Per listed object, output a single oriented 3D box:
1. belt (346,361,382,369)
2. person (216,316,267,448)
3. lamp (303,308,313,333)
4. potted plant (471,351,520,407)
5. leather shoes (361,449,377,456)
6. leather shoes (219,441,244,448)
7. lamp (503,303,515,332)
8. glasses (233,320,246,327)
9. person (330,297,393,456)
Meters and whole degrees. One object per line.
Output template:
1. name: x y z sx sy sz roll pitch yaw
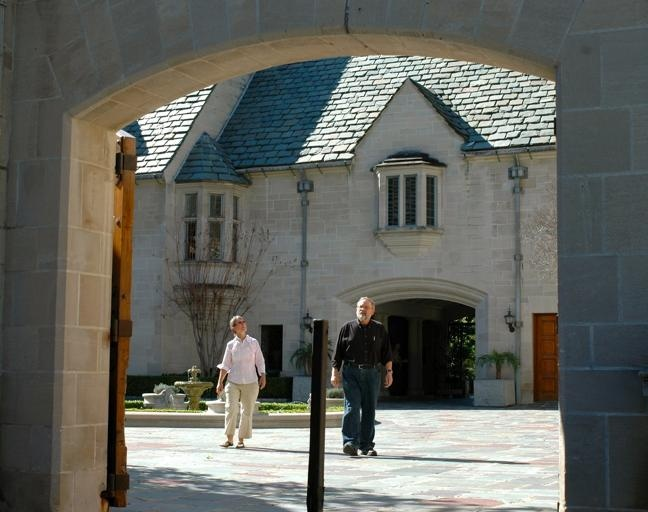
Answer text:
1. belt: 0.364 1.131 11.935 0.312 0.078 0.138 -1 -8 7
2. person: -0.985 1.449 13.730 0.561 1.613 1.798 1 -8 -5
3. lamp: -0.359 1.385 24.617 0.200 0.481 0.423 2 -8 -9
4. potted plant: 3.584 2.452 22.998 0.934 1.219 0.977 -4 -12 28
5. leather shoes: 0.456 2.028 11.945 0.150 0.071 0.057 -14 -15 40
6. leather shoes: -1.047 2.125 12.992 0.267 0.081 0.099 7 -13 -7
7. lamp: 3.685 1.263 22.976 0.236 0.532 0.136 -1 -7 10
8. glasses: -0.975 0.763 13.089 0.105 0.075 0.141 -2 -15 -9
9. person: 0.385 1.247 12.038 0.616 1.640 0.545 0 -7 1
